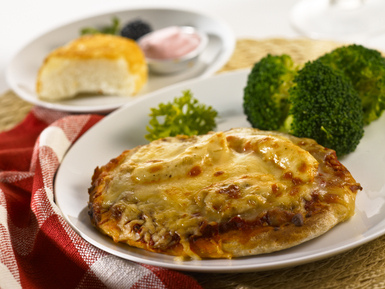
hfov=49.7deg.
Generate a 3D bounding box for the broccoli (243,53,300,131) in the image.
[{"bbox_3d":[0.471,-0.322,2.556,0.368,0.434,0.222,8,10,41],"label":"broccoli"}]

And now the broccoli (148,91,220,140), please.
[{"bbox_3d":[-0.063,-0.162,2.546,0.346,0.360,0.153,-2,25,-12],"label":"broccoli"}]

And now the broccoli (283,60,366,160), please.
[{"bbox_3d":[0.750,-0.210,2.329,0.455,0.311,0.450,18,52,19],"label":"broccoli"}]
